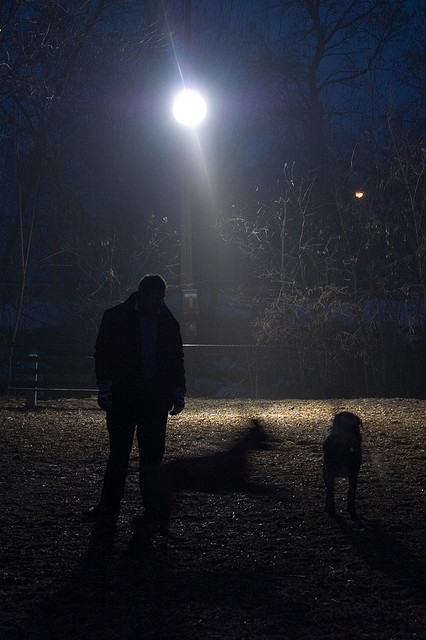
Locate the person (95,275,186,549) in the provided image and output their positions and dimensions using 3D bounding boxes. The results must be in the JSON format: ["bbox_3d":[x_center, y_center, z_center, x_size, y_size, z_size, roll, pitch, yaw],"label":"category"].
[{"bbox_3d":[-0.502,0.539,5.959,0.603,1.664,0.315,0,-3,-7],"label":"person"}]

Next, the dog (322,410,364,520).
[{"bbox_3d":[0.915,1.020,6.094,0.276,0.731,0.389,-1,-4,10],"label":"dog"}]
